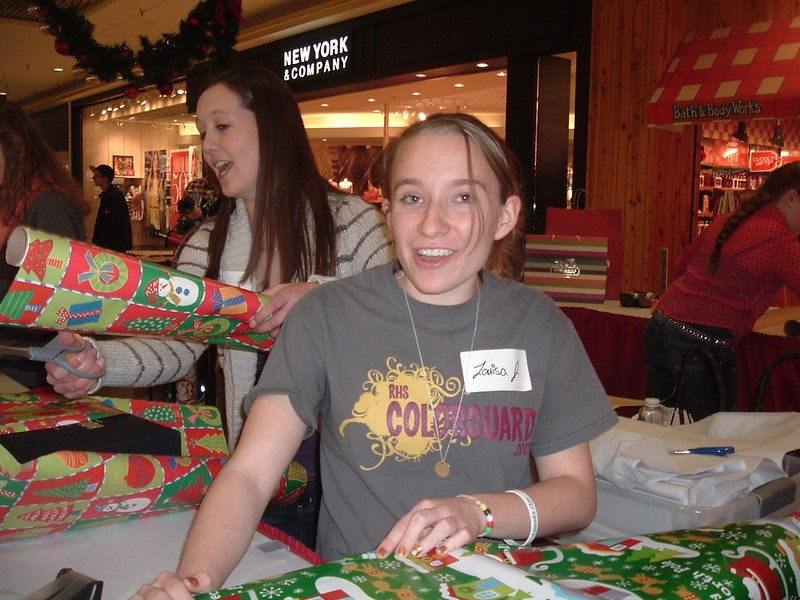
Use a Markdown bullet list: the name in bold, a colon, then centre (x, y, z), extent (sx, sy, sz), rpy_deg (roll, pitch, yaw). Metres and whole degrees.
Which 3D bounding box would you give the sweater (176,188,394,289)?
- **sweater**: centre (-0.418, -0.209, 1.828), extent (0.629, 0.285, 0.359), rpy_deg (-17, 2, 20)

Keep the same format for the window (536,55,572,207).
- **window**: centre (1.705, -2.040, 6.401), extent (0.434, 2.201, 0.188), rpy_deg (1, -28, 16)

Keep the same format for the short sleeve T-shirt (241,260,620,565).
- **short sleeve T-shirt**: centre (0.078, 0.226, 1.183), extent (0.757, 0.591, 0.300), rpy_deg (1, 11, -8)

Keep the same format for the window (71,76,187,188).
- **window**: centre (-6.538, -3.796, 14.402), extent (0.148, 2.416, 3.562), rpy_deg (23, 24, 24)

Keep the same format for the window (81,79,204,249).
- **window**: centre (-6.034, -2.968, 14.532), extent (3.875, 3.613, 1.333), rpy_deg (5, 4, 22)

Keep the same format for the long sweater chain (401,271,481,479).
- **long sweater chain**: centre (0.080, 0.150, 1.100), extent (0.156, 0.341, 0.125), rpy_deg (0, 3, 1)
